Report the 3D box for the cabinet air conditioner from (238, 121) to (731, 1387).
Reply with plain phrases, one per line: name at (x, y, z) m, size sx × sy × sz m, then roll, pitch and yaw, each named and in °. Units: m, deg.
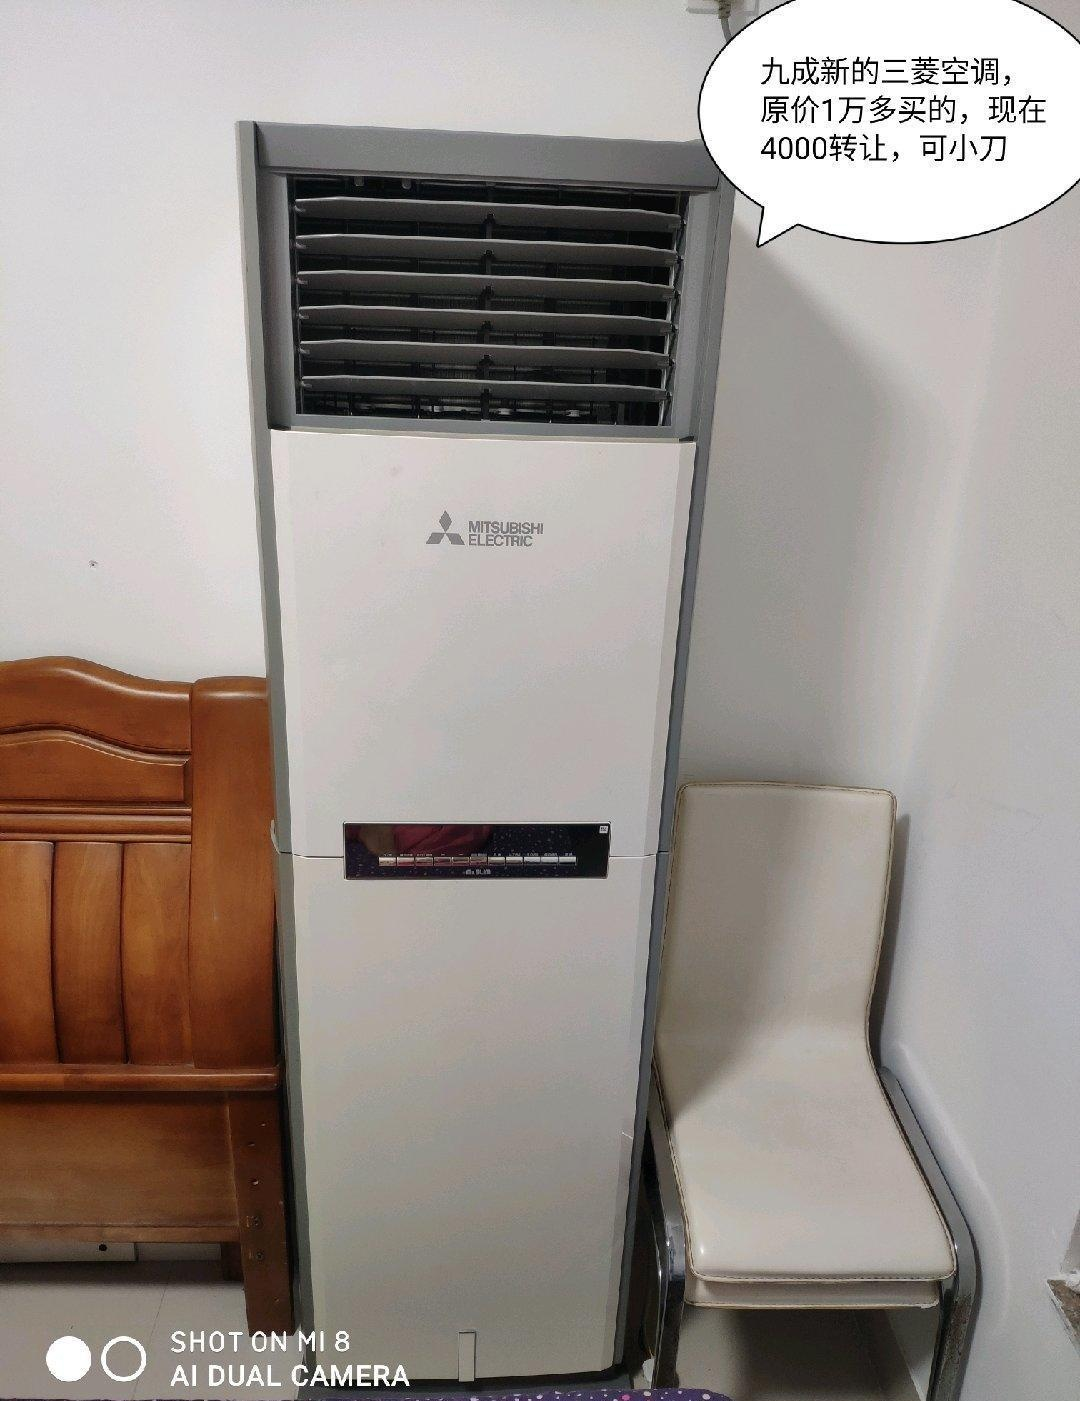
cabinet air conditioner at (-0.079, 0.191, 1.981) m, size 0.621 × 1.867 × 0.204 m, roll 0°, pitch 10°, yaw -5°
